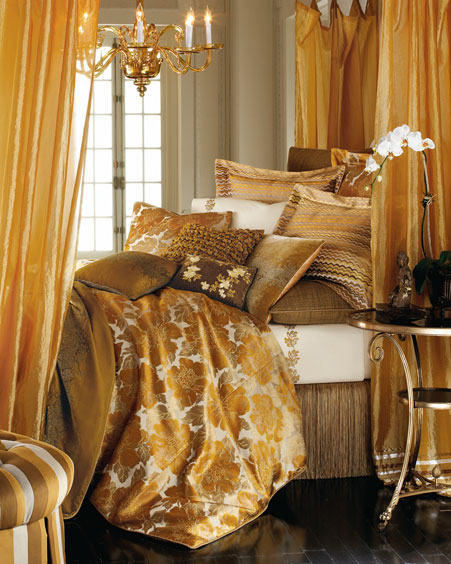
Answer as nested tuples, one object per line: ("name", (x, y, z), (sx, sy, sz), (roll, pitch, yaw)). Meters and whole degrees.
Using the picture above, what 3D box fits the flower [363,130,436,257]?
("flower", (0.635, -0.334, 2.300), (0.245, 0.483, 0.258), (2, 5, 18))
